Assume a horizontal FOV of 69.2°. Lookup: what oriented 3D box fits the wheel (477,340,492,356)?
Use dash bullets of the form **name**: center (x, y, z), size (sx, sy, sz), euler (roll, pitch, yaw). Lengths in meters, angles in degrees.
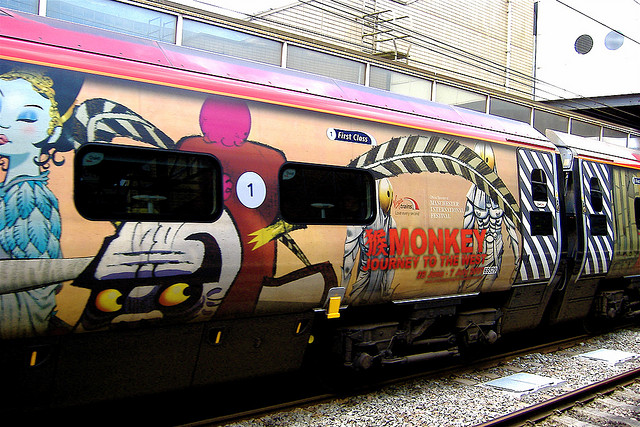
- **wheel**: center (3.177, 2.565, 8.902), size (0.266, 0.090, 0.671), euler (3, 2, 19)
